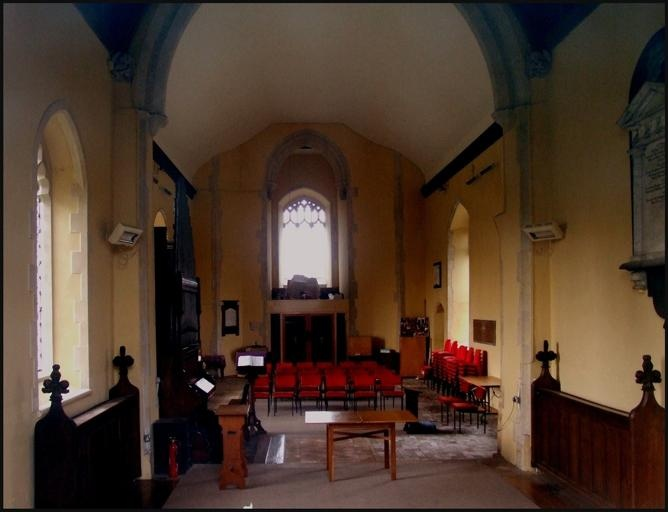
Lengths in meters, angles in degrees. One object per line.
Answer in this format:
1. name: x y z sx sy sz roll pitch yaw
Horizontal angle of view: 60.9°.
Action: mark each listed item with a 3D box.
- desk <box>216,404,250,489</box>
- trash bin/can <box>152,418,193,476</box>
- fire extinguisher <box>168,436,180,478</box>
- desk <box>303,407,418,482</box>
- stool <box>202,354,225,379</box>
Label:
1. desk: -1.546 2.960 8.884 0.466 1.167 0.572 -2 5 -10
2. trash bin/can: -2.674 3.120 9.328 0.681 1.127 0.733 1 -6 -6
3. fire extinguisher: -2.569 3.262 9.217 0.151 0.571 0.293 -2 5 -13
4. desk: 0.479 3.022 9.701 1.646 1.050 1.794 -1 4 3
5. stool: -3.548 3.338 17.111 0.653 0.724 0.916 -2 4 -12
